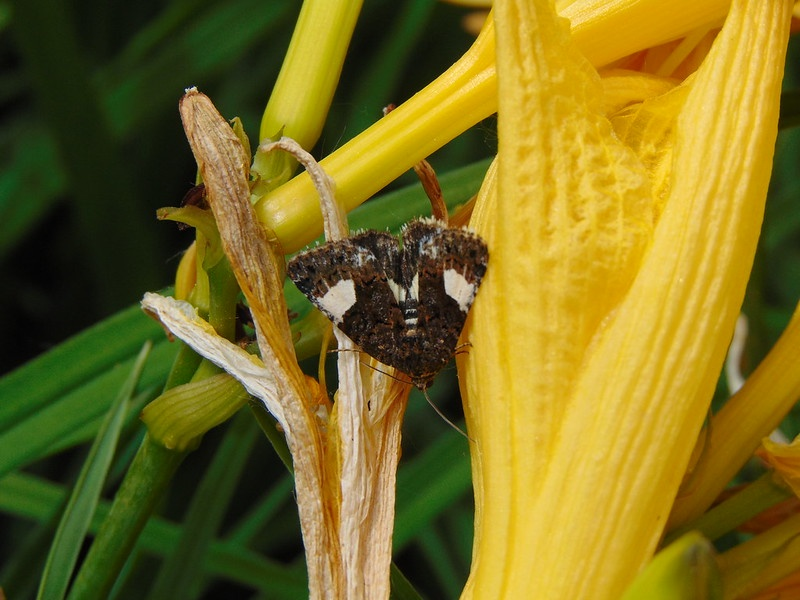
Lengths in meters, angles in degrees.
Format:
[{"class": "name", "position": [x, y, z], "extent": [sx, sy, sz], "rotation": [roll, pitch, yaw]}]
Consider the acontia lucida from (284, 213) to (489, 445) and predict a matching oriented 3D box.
[{"class": "acontia lucida", "position": [0.012, 0.019, 0.728], "extent": [0.143, 0.171, 0.083], "rotation": [-16, -41, -9]}]
